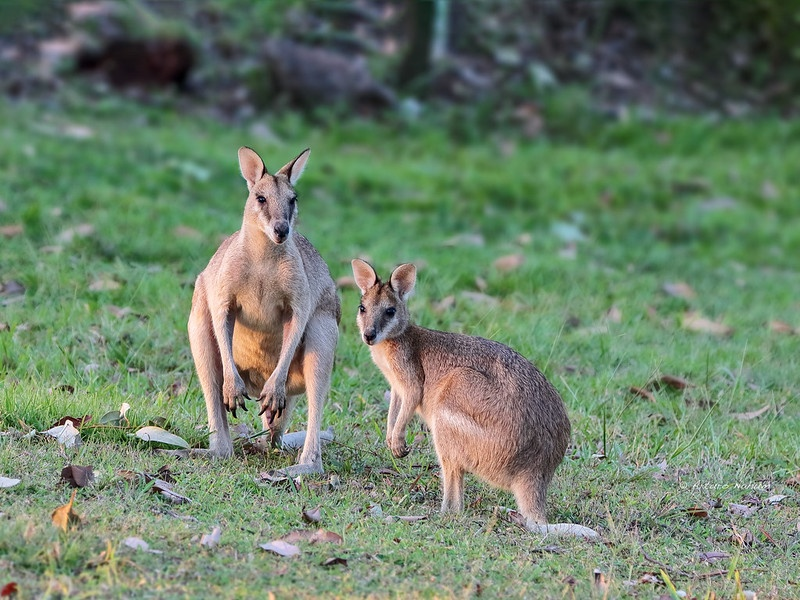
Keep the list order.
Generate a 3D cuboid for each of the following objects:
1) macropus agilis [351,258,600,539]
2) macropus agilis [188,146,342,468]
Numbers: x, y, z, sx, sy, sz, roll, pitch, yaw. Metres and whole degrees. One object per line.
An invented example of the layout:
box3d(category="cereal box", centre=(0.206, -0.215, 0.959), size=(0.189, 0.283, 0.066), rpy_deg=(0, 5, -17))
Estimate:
box3d(category="macropus agilis", centre=(0.445, 0.455, 4.418), size=(0.931, 1.382, 1.034), rpy_deg=(0, 6, 40))
box3d(category="macropus agilis", centre=(-0.672, 0.039, 4.313), size=(0.682, 1.630, 1.025), rpy_deg=(1, 5, -10))
